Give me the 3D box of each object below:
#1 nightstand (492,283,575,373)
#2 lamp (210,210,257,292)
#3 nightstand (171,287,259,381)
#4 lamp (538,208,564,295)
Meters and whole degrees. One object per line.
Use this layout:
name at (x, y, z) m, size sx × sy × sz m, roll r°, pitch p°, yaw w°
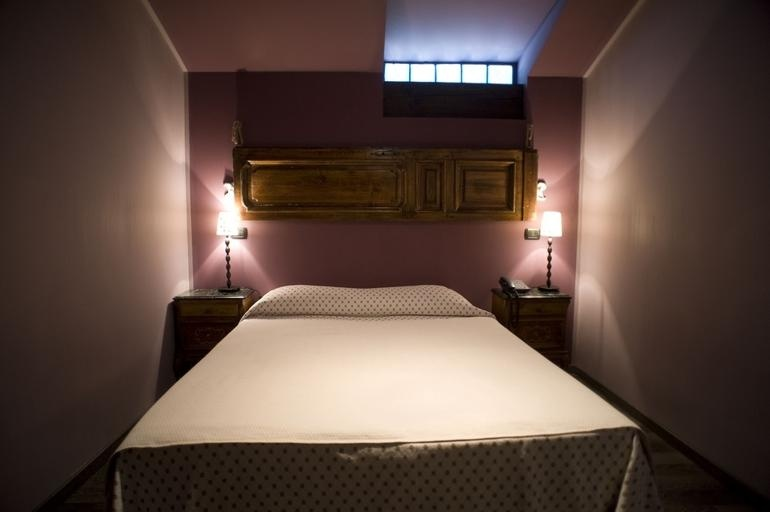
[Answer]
nightstand at (1.440, 0.479, 5.382) m, size 0.624 × 0.512 × 0.866 m, roll 13°, pitch -35°, yaw 22°
lamp at (-1.391, -0.052, 5.212) m, size 0.272 × 0.743 × 0.271 m, roll 0°, pitch 5°, yaw -5°
nightstand at (-1.523, 0.734, 5.334) m, size 0.725 × 1.037 × 0.683 m, roll 0°, pitch 4°, yaw 0°
lamp at (1.534, -0.051, 5.293) m, size 0.195 × 0.723 × 0.395 m, roll 2°, pitch 6°, yaw 17°
